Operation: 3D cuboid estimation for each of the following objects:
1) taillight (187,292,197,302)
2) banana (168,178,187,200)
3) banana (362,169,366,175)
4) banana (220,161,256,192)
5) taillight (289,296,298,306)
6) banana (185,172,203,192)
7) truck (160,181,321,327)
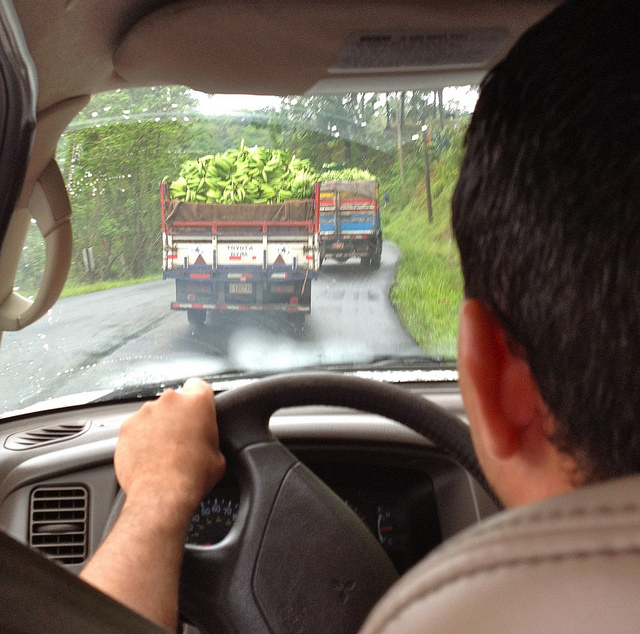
[{"bbox_3d":[-1.772,-0.280,6.982,0.091,0.027,0.118,-2,55,-13],"label":"taillight"},{"bbox_3d":[-1.858,-1.678,6.601,0.092,0.232,0.210,23,-6,12],"label":"banana"},{"bbox_3d":[0.330,-1.077,3.752,0.019,0.006,0.022,2,41,-47],"label":"banana"},{"bbox_3d":[-0.805,-1.409,4.991,0.177,0.175,0.107,-29,45,43],"label":"banana"},{"bbox_3d":[-0.352,-0.232,6.966,0.111,0.155,0.089,-2,-3,2],"label":"taillight"},{"bbox_3d":[-1.474,-1.593,5.927,0.191,0.254,0.078,2,-3,36],"label":"banana"},{"bbox_3d":[-1.398,-1.656,8.776,2.107,2.468,3.935,-1,26,-9],"label":"truck"}]
